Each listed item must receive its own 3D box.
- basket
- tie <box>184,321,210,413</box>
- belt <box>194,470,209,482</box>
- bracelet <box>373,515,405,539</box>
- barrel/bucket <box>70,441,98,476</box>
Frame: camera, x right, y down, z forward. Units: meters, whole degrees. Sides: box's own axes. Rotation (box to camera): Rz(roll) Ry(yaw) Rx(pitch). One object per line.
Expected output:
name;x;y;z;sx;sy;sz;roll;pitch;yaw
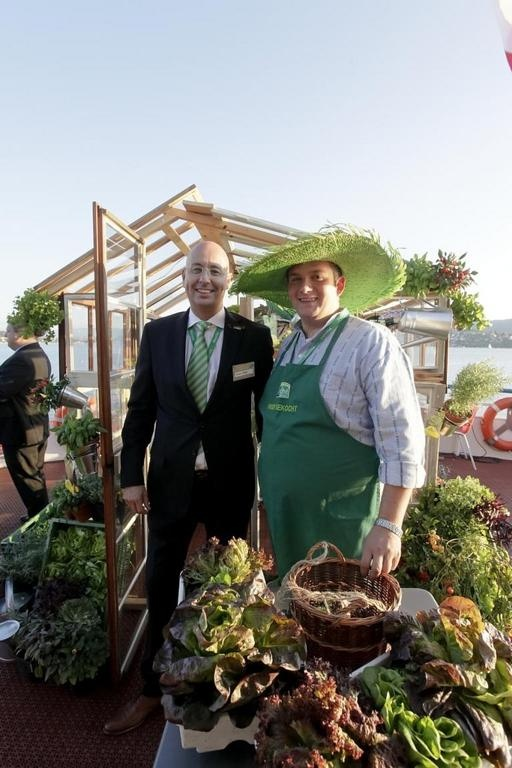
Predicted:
basket;0.203;0.471;1.285;0.206;0.132;0.250;4;-3;-1
tie;-0.237;-0.071;2.208;0.094;0.346;0.135;-2;9;-4
belt;-0.219;0.357;2.147;0.050;0.042;0.011;-3;9;-1
bracelet;0.399;0.422;1.625;0.067;0.024;0.062;26;-6;12
barrel/bucket;-0.842;0.371;2.767;0.158;0.147;0.169;1;0;0
